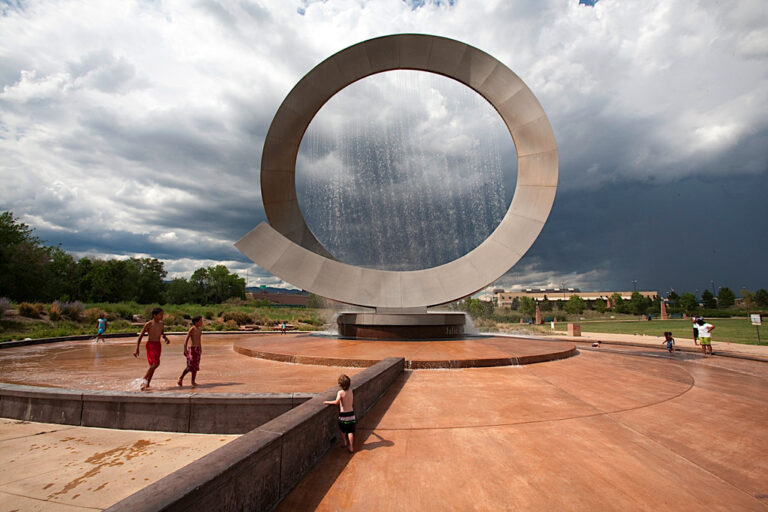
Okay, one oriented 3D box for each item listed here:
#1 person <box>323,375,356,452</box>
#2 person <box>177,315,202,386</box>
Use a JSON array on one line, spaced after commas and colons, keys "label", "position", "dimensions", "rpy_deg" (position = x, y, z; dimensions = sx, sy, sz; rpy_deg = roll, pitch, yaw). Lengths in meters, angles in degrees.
[{"label": "person", "position": [-0.696, 2.296, 5.494], "dimensions": [0.495, 0.845, 0.525], "rpy_deg": [1, -2, -7]}, {"label": "person", "position": [-4.739, 2.092, 8.536], "dimensions": [0.490, 1.584, 2.077], "rpy_deg": [1, -3, -29]}]
